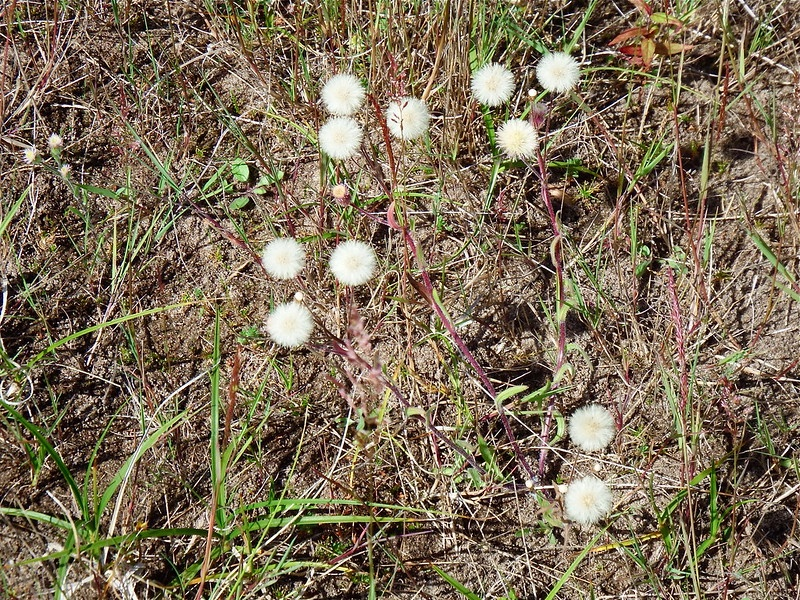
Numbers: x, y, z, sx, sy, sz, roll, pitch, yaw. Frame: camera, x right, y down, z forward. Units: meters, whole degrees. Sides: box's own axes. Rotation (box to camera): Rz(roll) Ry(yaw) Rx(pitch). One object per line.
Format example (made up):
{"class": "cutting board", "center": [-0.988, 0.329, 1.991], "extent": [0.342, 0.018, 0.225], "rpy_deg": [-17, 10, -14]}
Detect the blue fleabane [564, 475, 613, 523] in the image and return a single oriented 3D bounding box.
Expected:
{"class": "blue fleabane", "center": [0.679, 0.720, 2.609], "extent": [0.170, 0.065, 0.152], "rpy_deg": [1, 87, 1]}

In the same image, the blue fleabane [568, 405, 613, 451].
{"class": "blue fleabane", "center": [0.705, 0.463, 2.693], "extent": [0.126, 0.071, 0.185], "rpy_deg": [-6, 77, 0]}

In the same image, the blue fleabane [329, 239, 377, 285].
{"class": "blue fleabane", "center": [-0.180, -0.171, 2.816], "extent": [0.184, 0.191, 0.056], "rpy_deg": [-17, 70, 41]}
